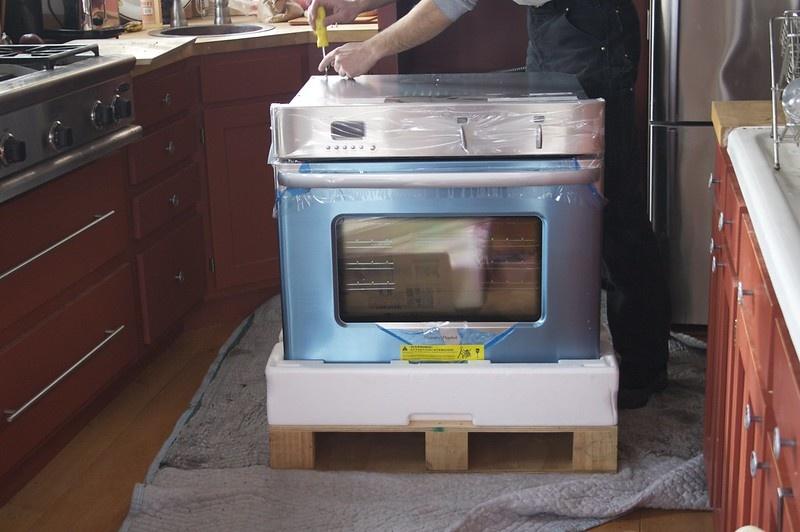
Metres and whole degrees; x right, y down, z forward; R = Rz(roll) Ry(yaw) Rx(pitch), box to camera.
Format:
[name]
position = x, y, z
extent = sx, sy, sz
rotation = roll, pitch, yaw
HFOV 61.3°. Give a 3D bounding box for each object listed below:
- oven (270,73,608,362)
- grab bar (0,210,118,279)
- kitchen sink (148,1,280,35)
[oven]
position = 0.108, -0.282, 2.086
extent = 0.802, 0.609, 0.852
rotation = 0, 27, 3
[grab bar]
position = -1.035, -0.064, 2.016
extent = 0.014, 0.013, 0.392
rotation = 16, 43, 26
[kitchen sink]
position = -0.853, -1.116, 3.031
extent = 0.523, 0.166, 0.534
rotation = -7, 19, -20
